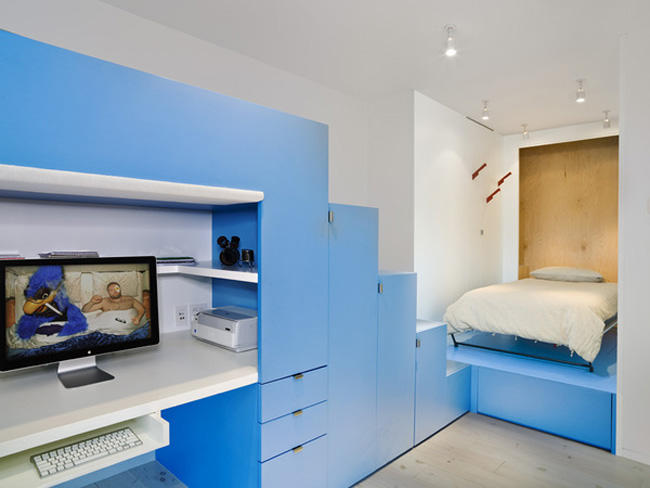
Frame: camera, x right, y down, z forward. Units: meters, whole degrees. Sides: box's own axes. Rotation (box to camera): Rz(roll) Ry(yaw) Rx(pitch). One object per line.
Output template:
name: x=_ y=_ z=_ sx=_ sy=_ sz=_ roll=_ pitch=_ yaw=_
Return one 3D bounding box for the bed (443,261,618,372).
bed: x=2.230 y=0.577 z=4.893 sx=1.368 sy=0.631 sz=2.308 roll=13 pitch=18 yaw=37

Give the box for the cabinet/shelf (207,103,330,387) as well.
cabinet/shelf: x=-0.201 y=0.002 z=2.490 sx=0.625 sy=1.374 sz=0.277 roll=-11 pitch=18 yaw=-41

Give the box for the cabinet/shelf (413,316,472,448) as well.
cabinet/shelf: x=0.884 y=1.083 z=3.576 sx=0.282 sy=0.860 sz=0.880 roll=-2 pitch=-2 yaw=39
